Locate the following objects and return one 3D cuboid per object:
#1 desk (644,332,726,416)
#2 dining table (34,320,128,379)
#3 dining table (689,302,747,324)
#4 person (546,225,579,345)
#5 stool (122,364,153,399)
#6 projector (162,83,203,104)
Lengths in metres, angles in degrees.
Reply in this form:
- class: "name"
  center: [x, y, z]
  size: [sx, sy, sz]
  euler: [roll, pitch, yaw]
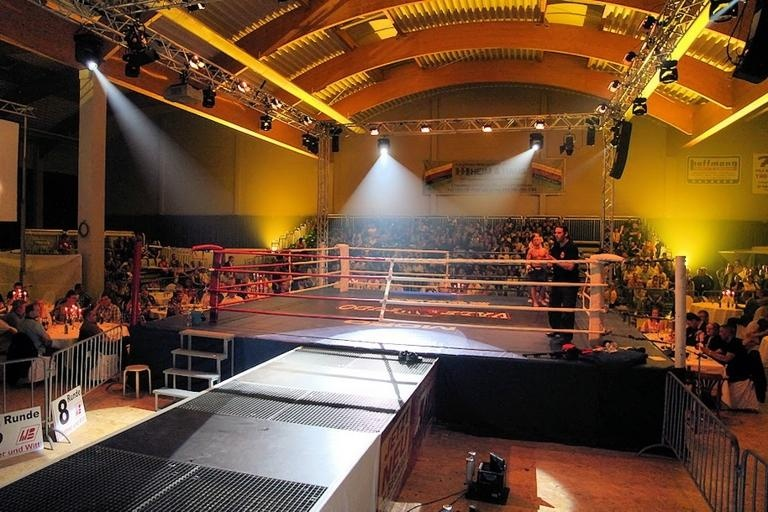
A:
- class: "desk"
  center: [5.277, 1.901, 8.737]
  size: [1.114, 0.461, 1.884]
  euler: [-1, 16, 6]
- class: "dining table"
  center: [-5.272, 1.690, 8.963]
  size: [1.118, 0.724, 1.133]
  euler: [2, 2, 13]
- class: "dining table"
  center: [7.797, 1.294, 12.059]
  size: [0.792, 0.292, 0.805]
  euler: [-3, 1, 16]
- class: "person"
  center: [3.010, 0.441, 8.680]
  size: [0.473, 1.904, 1.283]
  euler: [0, -1, 20]
- class: "stool"
  center: [-4.178, 2.109, 8.749]
  size: [0.425, 0.441, 0.431]
  euler: [-2, -2, 44]
- class: "projector"
  center: [-4.534, -3.652, 11.702]
  size: [0.788, 0.351, 0.461]
  euler: [0, -1, 29]
